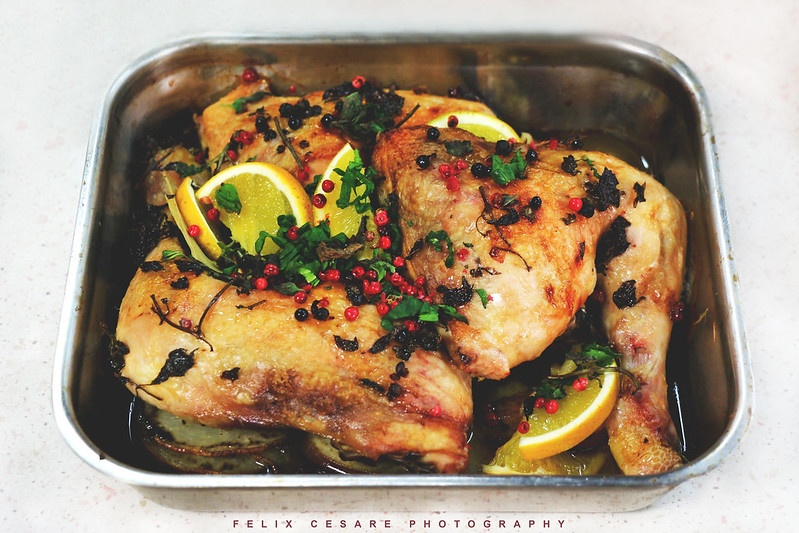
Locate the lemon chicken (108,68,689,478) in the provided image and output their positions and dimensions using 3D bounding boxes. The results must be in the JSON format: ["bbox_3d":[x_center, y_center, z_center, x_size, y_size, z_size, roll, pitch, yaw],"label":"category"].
[{"bbox_3d":[-0.223,-0.595,9.597,6.616,5.730,2.654,1,-71,5],"label":"lemon chicken"}]
